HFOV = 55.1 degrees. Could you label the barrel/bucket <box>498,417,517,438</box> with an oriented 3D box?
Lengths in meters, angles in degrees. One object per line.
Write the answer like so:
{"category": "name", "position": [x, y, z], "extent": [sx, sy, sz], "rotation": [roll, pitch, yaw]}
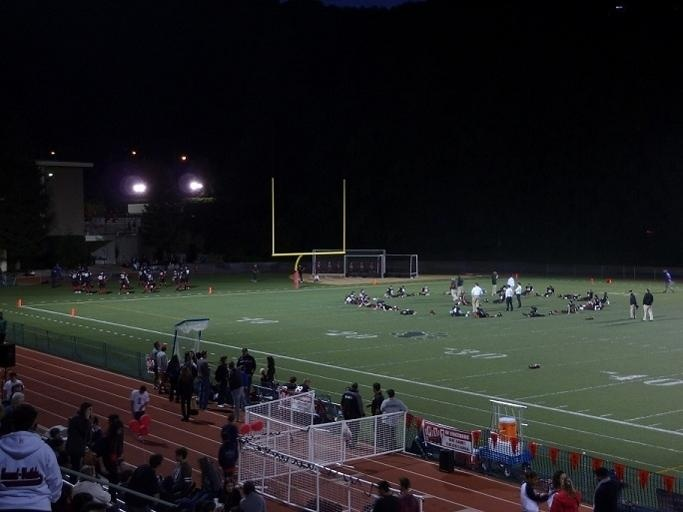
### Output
{"category": "barrel/bucket", "position": [3.400, 3.468, 13.349], "extent": [0.372, 0.408, 0.376], "rotation": [2, 0, 0]}

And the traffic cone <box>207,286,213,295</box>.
{"category": "traffic cone", "position": [-10.054, 2.597, 49.699], "extent": [0.552, 0.591, 0.543], "rotation": [1, -7, 0]}

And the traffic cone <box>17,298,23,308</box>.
{"category": "traffic cone", "position": [-19.687, 2.885, 40.027], "extent": [0.329, 0.369, 0.345], "rotation": [-12, -16, 42]}
